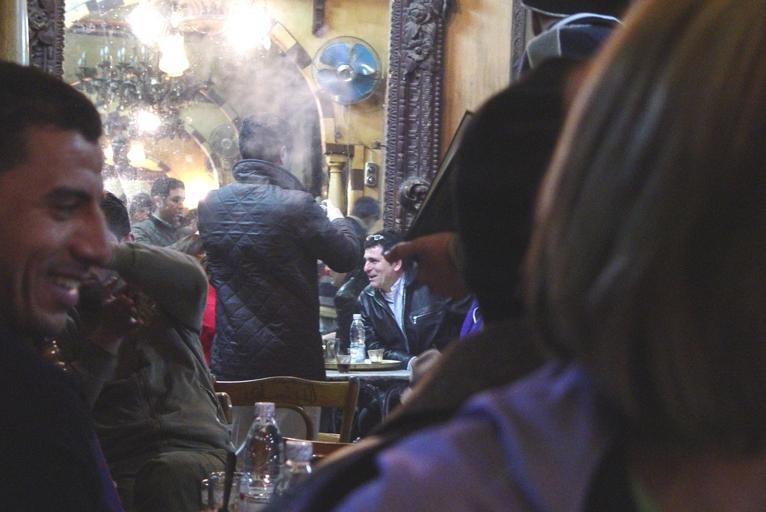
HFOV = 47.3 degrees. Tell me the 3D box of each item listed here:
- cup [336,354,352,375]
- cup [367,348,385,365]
[{"bbox_3d":[-0.128,0.354,2.828,0.037,0.040,0.038,1,3,0],"label":"cup"},{"bbox_3d":[-0.029,0.338,2.935,0.044,0.034,0.043,-1,-2,0],"label":"cup"}]
